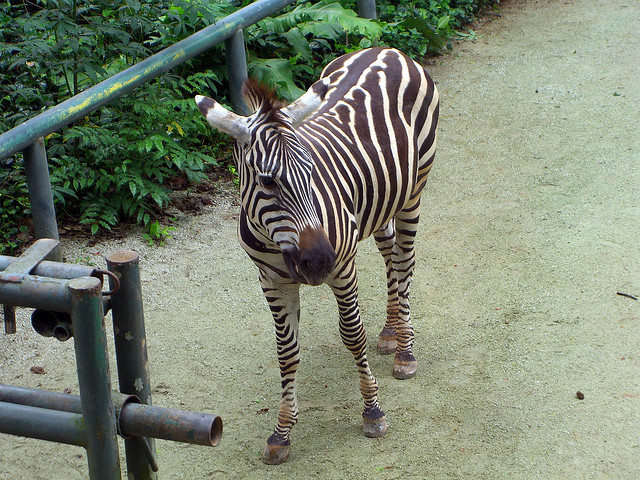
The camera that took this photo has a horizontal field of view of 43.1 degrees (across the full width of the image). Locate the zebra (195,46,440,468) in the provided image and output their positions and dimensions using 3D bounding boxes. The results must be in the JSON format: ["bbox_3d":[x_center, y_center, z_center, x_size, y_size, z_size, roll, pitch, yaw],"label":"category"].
[{"bbox_3d":[0.053,0.075,5.174,0.879,2.870,2.347,1,107,16],"label":"zebra"}]
